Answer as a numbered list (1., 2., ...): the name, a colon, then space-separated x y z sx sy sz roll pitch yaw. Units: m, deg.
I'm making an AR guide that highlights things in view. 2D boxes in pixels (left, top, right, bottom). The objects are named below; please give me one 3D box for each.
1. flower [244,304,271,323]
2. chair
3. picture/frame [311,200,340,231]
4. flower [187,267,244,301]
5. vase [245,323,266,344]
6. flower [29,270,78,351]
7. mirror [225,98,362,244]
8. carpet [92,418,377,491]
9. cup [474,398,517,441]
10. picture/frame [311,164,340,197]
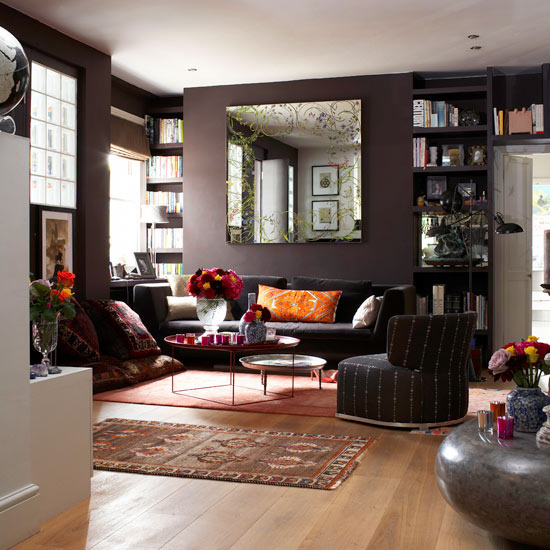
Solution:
1. flower: -0.154 0.317 4.091 0.193 0.153 0.194 -1 -3 25
2. chair: 0.929 0.569 3.488 0.809 0.736 0.829 1 0 39
3. picture/frame: 0.662 -0.776 6.227 0.422 0.487 0.033 0 3 12
4. flower: -0.539 0.070 4.356 0.341 0.210 0.346 2 1 43
5. vase: -0.151 0.467 3.983 0.169 0.153 0.164 0 -3 -2
6. flower: -0.972 0.159 2.149 0.177 0.360 0.255 2 -3 -25
7. mirror: 0.321 -1.368 6.296 2.078 2.043 0.061 0 0 9
8. carpet: -0.305 0.986 2.795 1.584 0.037 0.950 0 -3 16
9. cup: 0.821 0.541 1.828 0.108 0.089 0.132 -1 -2 23
10. picture/frame: 0.660 -1.215 6.193 0.428 0.444 0.020 0 1 7
